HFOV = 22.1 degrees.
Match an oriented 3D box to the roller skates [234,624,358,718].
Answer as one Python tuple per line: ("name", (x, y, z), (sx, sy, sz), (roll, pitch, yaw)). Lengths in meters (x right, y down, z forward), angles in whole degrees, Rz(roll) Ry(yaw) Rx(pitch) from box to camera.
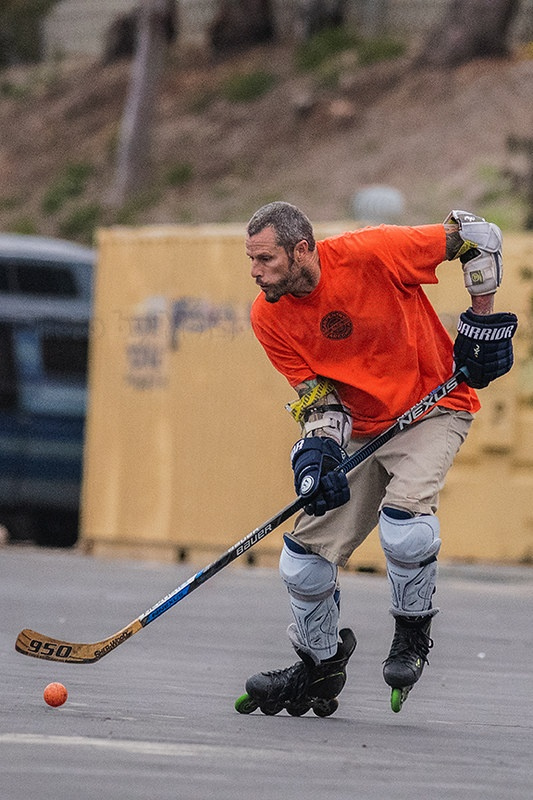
("roller skates", (0.095, 0.867, 4.175), (0.428, 0.335, 0.150), (5, -10, -9))

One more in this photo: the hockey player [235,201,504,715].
("hockey player", (0.347, 0.190, 4.213), (1.003, 1.558, 0.729), (-7, -13, 25))

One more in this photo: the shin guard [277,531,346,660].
("shin guard", (0.144, 0.637, 4.274), (0.171, 0.379, 0.192), (-1, -2, 2))

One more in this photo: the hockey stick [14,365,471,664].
("hockey stick", (-0.140, 0.453, 4.339), (1.030, 1.076, 1.378), (-16, 16, -38))

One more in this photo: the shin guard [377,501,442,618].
("shin guard", (0.435, 0.499, 4.141), (0.181, 0.401, 0.224), (-3, 18, 5))

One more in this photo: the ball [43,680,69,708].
("ball", (-0.629, 0.898, 4.119), (0.073, 0.075, 0.069), (0, -9, 0))

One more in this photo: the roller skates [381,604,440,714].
("roller skates", (0.442, 0.791, 4.223), (0.131, 0.273, 0.380), (3, 6, 16))
